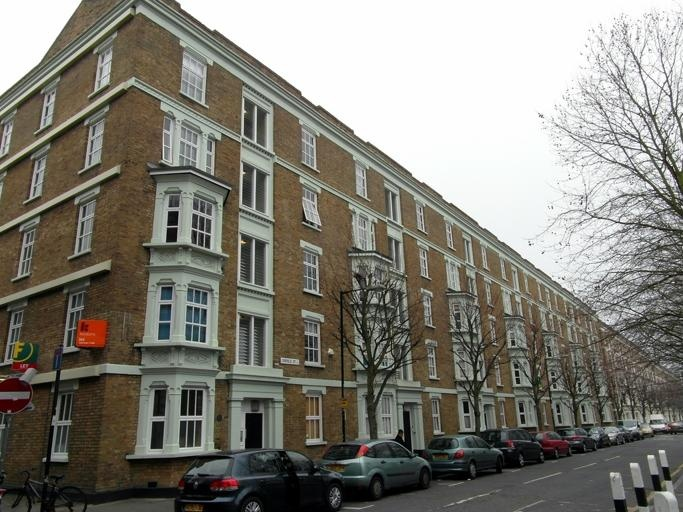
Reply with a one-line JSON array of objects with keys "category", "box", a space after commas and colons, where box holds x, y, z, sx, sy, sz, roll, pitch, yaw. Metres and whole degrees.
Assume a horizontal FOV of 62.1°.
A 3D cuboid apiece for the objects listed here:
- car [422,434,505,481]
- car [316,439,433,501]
[{"category": "car", "box": [5.885, 9.105, 26.000, 4.444, 1.831, 1.690, 12, -29, -33]}, {"category": "car", "box": [1.385, 7.828, 21.307, 4.000, 1.346, 2.042, 14, -23, -41]}]
